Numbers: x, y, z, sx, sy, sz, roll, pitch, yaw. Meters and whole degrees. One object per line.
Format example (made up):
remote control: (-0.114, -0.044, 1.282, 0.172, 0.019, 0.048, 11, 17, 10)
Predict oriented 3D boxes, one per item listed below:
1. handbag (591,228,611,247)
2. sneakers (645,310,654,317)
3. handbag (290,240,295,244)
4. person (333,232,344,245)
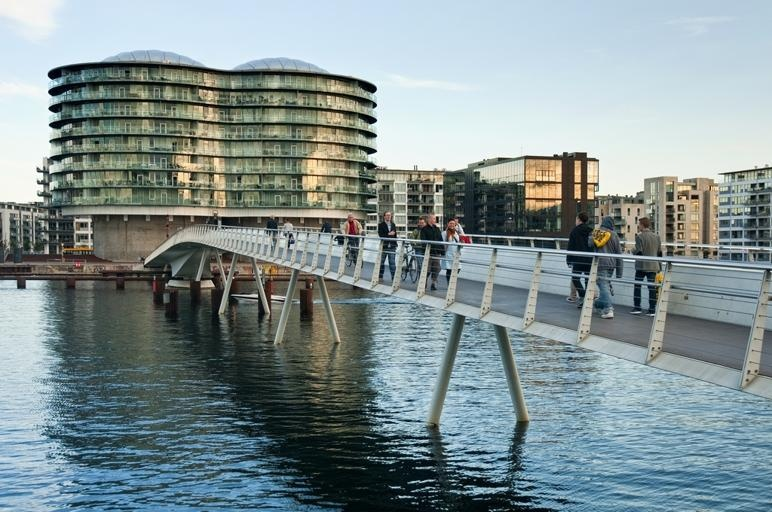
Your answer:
handbag: (6.220, -0.546, 25.712, 0.634, 0.479, 0.217, 10, 19, 7)
sneakers: (7.178, 1.576, 24.107, 0.249, 0.121, 0.364, 0, -1, 13)
handbag: (-4.371, -0.668, 40.457, 0.220, 0.155, 0.103, 1, -12, -11)
person: (-2.302, -0.811, 41.392, 0.463, 0.335, 0.710, 0, 10, -5)
